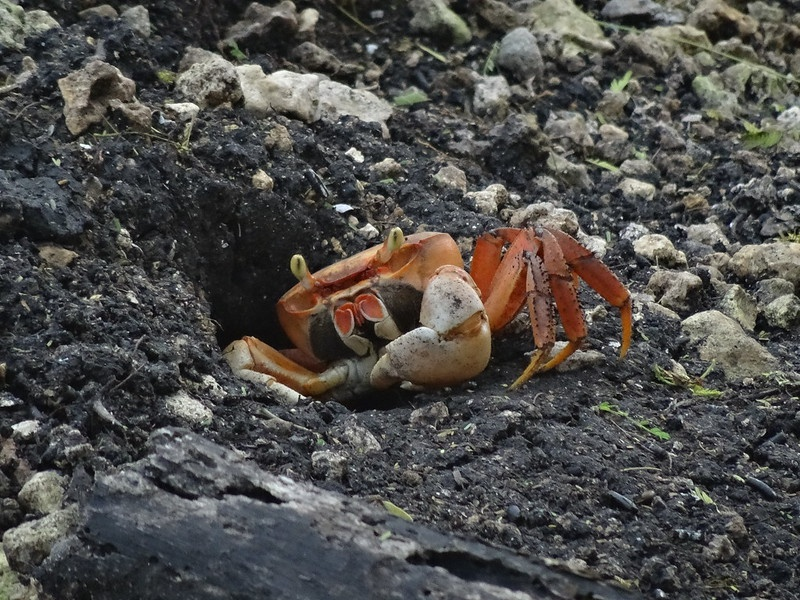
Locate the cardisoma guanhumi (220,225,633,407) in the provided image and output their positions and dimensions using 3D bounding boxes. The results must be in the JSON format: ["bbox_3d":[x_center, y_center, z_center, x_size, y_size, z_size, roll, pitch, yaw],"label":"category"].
[{"bbox_3d":[0.119,0.023,5.041,1.534,1.149,0.943,2,11,-2],"label":"cardisoma guanhumi"}]
